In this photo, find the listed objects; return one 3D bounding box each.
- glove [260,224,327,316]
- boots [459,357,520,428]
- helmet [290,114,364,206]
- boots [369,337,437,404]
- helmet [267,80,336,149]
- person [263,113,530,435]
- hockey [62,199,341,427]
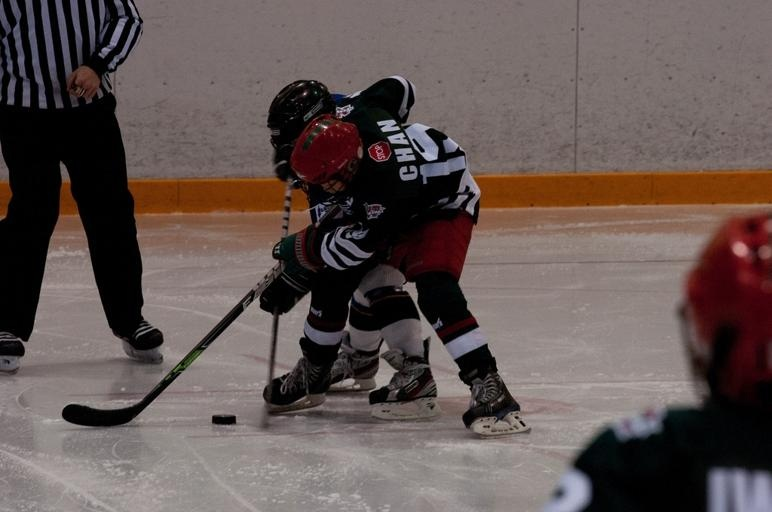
[{"bbox_3d":[-0.335,0.050,3.757,0.215,0.359,0.148,53,25,21],"label":"glove"},{"bbox_3d":[0.360,0.532,3.540,0.122,0.218,0.359,-8,-5,35],"label":"boots"},{"bbox_3d":[-0.229,-0.342,3.550,0.245,0.243,0.290,26,43,37],"label":"helmet"},{"bbox_3d":[0.036,0.443,3.732,0.351,0.258,0.124,1,-2,-39],"label":"boots"},{"bbox_3d":[-0.309,-0.545,3.788,0.294,0.231,0.217,-12,11,-12],"label":"helmet"},{"bbox_3d":[0.071,0.041,3.636,1.049,1.026,0.535,10,15,8],"label":"person"},{"bbox_3d":[-0.831,0.277,4.372,1.664,0.369,0.177,-31,-11,-16],"label":"hockey"}]
